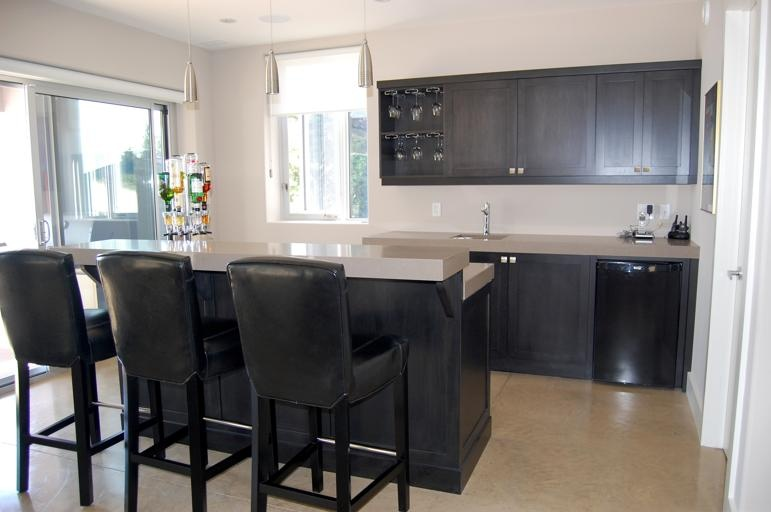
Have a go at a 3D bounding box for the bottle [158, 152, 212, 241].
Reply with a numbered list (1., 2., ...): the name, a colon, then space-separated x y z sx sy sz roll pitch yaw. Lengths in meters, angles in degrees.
1. bottle: -1.477 -0.438 4.342 0.358 0.620 0.372 -3 9 0

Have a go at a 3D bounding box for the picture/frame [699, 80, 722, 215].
1. picture/frame: 2.471 -0.811 4.469 0.108 0.948 0.823 2 10 28

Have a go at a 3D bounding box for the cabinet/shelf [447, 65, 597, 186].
1. cabinet/shelf: 1.466 -0.949 5.883 1.542 1.025 0.859 1 5 19

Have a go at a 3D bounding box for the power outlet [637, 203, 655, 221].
1. power outlet: 2.480 -0.416 5.635 0.156 0.172 0.154 2 -3 13

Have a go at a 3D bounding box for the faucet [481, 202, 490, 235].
1. faucet: 1.019 -0.381 5.935 0.101 0.323 0.366 -2 8 9
